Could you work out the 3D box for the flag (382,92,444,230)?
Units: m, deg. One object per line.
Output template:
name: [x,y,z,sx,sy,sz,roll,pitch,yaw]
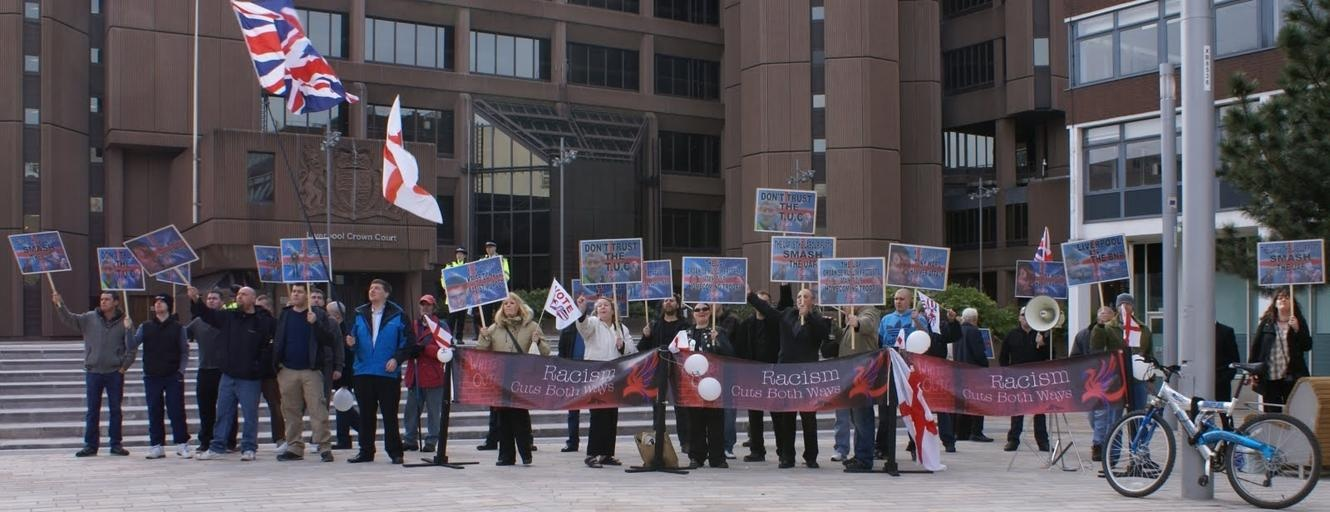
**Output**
flag: [-13.551,-6.042,103.205,3.939,9.024,4.068,2,-1,-24]
